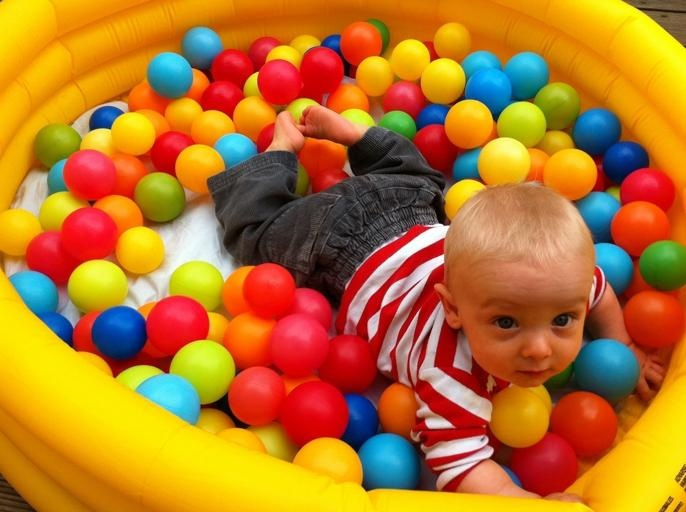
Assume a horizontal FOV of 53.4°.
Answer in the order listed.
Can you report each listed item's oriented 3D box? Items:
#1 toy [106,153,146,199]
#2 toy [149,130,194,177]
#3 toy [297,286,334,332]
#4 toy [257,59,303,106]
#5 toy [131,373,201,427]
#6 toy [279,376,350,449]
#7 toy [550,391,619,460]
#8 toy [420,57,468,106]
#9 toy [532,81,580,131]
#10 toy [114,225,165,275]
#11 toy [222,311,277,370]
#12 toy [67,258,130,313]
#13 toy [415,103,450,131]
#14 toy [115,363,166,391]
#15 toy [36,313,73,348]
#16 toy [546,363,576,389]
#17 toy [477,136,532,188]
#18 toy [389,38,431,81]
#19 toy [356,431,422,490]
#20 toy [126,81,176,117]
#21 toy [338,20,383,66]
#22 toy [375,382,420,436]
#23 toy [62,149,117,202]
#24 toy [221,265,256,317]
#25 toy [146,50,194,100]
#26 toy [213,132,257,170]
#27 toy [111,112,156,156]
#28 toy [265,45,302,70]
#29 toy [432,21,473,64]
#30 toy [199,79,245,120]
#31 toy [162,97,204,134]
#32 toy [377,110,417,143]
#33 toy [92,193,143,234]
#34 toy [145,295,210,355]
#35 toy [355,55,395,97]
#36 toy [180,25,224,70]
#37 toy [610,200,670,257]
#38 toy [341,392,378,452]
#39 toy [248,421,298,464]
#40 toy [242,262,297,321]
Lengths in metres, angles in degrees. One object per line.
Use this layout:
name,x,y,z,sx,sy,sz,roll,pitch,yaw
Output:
toy,-0.704,-0.264,2.225,0.114,0.122,0.153,-1,76,-11
toy,-0.598,-0.350,2.361,0.125,0.162,0.141,1,48,-10
toy,-0.091,0.150,2.038,0.100,0.107,0.136,-12,64,29
toy,-0.229,-0.603,2.393,0.141,0.160,0.150,-15,89,2
toy,-0.422,0.348,1.710,0.127,0.152,0.136,34,82,4
toy,-0.069,0.401,1.832,0.150,0.185,0.166,-17,71,0
toy,0.624,0.439,1.818,0.155,0.191,0.177,11,73,-11
toy,0.349,-0.615,2.463,0.140,0.185,0.149,13,17,20
toy,0.726,-0.514,2.339,0.132,0.166,0.155,6,91,4
toy,-0.623,-0.013,2.076,0.128,0.139,0.168,0,62,-15
toy,-0.268,0.243,1.985,0.130,0.169,0.139,-15,40,-18
toy,-0.728,0.087,2.010,0.142,0.104,0.137,20,46,12
toy,0.304,-0.499,2.435,0.086,0.112,0.095,-7,52,-18
toy,-0.542,0.315,1.801,0.072,0.082,0.079,-8,84,-55
toy,-0.756,0.197,1.779,0.056,0.067,0.056,-41,35,-7
toy,0.596,0.342,1.892,0.068,0.088,0.078,6,69,8
toy,0.505,-0.294,2.172,0.160,0.138,0.152,-23,92,-33
toy,0.237,-0.710,2.555,0.131,0.138,0.140,18,36,-10
toy,0.117,0.552,1.780,0.171,0.124,0.136,8,45,1
toy,-0.700,-0.554,2.435,0.125,0.120,0.117,11,34,-16
toy,0.053,-0.785,2.531,0.134,0.170,0.152,-12,61,0
toy,0.136,0.406,1.858,0.113,0.149,0.116,-10,27,-17
toy,-0.789,-0.254,2.115,0.145,0.165,0.145,-3,15,-22
toy,-0.321,0.109,2.079,0.111,0.152,0.122,1,26,-4
toy,-0.611,-0.622,2.404,0.157,0.151,0.102,-8,45,-14
toy,-0.362,-0.357,2.350,0.118,0.130,0.143,26,14,11
toy,-0.692,-0.393,2.237,0.122,0.153,0.142,-10,85,7
toy,-0.230,-0.724,2.514,0.101,0.094,0.093,19,60,40
toy,0.397,-0.791,2.531,0.122,0.157,0.140,-3,60,8
toy,-0.440,-0.563,2.456,0.116,0.146,0.130,-10,63,0
toy,-0.568,-0.496,2.415,0.111,0.130,0.140,0,8,1
toy,0.187,-0.460,2.382,0.098,0.123,0.114,-4,83,10
toy,-0.699,-0.138,2.143,0.133,0.132,0.123,14,16,8
toy,-0.450,0.190,1.907,0.140,0.176,0.162,11,54,-5
toy,0.101,-0.663,2.577,0.123,0.157,0.133,-23,37,1
toy,-0.523,-0.760,2.564,0.131,0.138,0.168,-19,84,-10
toy,0.873,-0.087,2.043,0.144,0.187,0.162,9,49,19
toy,0.042,0.441,1.830,0.112,0.122,0.156,-1,82,5
toy,-0.180,0.488,1.801,0.090,0.114,0.103,-17,85,7
toy,-0.192,0.104,1.973,0.134,0.164,0.145,27,70,16
